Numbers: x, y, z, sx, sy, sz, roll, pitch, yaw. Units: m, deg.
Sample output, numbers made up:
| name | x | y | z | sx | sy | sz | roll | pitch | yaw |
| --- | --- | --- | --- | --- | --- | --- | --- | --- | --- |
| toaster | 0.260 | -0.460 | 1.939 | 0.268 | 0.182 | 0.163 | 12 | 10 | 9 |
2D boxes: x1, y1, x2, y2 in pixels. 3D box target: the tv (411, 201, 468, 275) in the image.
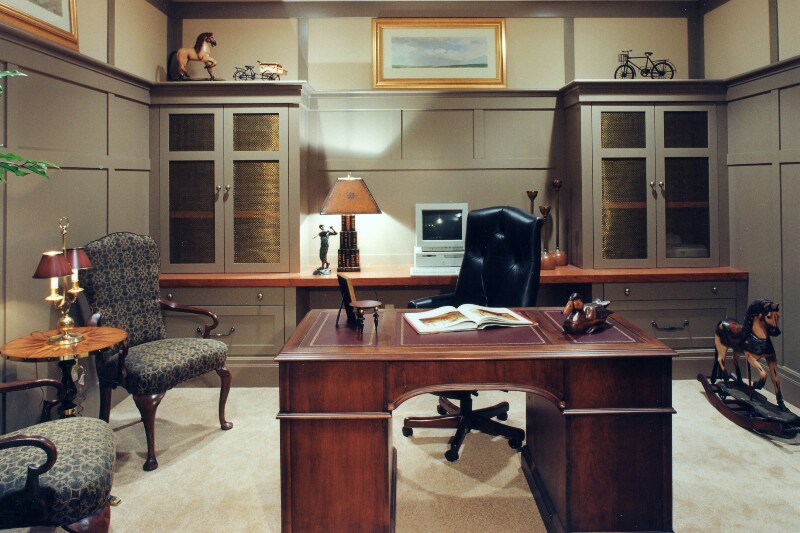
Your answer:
| name | x | y | z | sx | sy | sz | roll | pitch | yaw |
| --- | --- | --- | --- | --- | --- | --- | --- | --- | --- |
| tv | 0.337 | -0.245 | 5.618 | 0.506 | 0.716 | 0.581 | 0 | -6 | 0 |

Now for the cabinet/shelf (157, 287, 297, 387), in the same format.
| name | x | y | z | sx | sy | sz | roll | pitch | yaw |
| --- | --- | --- | --- | --- | --- | --- | --- | --- | --- |
| cabinet/shelf | -1.381 | 0.507 | 5.123 | 0.812 | 0.693 | 0.323 | 0 | 2 | -3 |

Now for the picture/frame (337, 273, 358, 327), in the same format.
| name | x | y | z | sx | sy | sz | roll | pitch | yaw |
| --- | --- | --- | --- | --- | --- | --- | --- | --- | --- |
| picture/frame | -0.358 | 0.220 | 4.382 | 0.126 | 0.296 | 0.311 | 2 | 3 | -17 |

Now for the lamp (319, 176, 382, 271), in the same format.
| name | x | y | z | sx | sy | sz | roll | pitch | yaw |
| --- | --- | --- | --- | --- | --- | --- | --- | --- | --- |
| lamp | -0.440 | -0.367 | 5.716 | 0.485 | 0.830 | 0.588 | 0 | 6 | -5 |

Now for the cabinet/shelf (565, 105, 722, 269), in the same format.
| name | x | y | z | sx | sy | sz | roll | pitch | yaw |
| --- | --- | --- | --- | --- | --- | --- | --- | --- | --- |
| cabinet/shelf | 2.183 | -0.706 | 5.687 | 1.385 | 1.662 | 0.641 | 0 | 0 | 0 |
